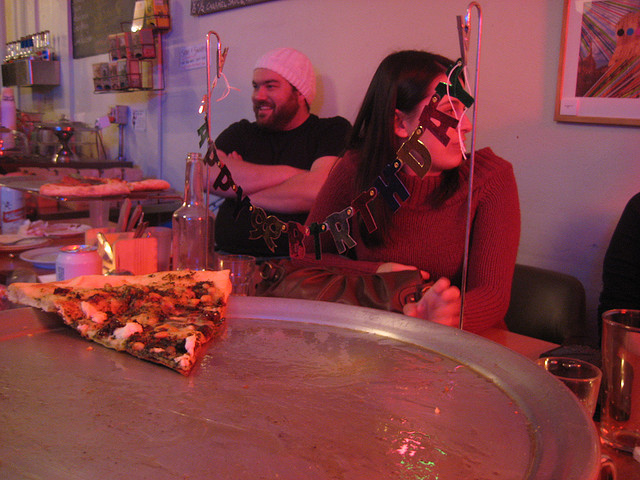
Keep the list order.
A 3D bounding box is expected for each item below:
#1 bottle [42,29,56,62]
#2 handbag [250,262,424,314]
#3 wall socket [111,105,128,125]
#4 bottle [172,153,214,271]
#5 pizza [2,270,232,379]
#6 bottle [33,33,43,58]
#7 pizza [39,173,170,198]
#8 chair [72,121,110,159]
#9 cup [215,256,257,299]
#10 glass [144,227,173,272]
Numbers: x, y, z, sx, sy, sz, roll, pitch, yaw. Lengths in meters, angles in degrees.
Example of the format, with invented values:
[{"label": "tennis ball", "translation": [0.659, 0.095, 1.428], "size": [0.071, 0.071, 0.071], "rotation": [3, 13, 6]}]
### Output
[{"label": "bottle", "translation": [-3.121, -2.222, 5.461], "size": [0.125, 0.376, 0.186], "rotation": [-5, 11, -35]}, {"label": "handbag", "translation": [0.062, 0.108, 1.199], "size": [0.289, 0.097, 0.178], "rotation": [4, 16, 14]}, {"label": "wall socket", "translation": [-1.839, -1.139, 4.374], "size": [0.160, 0.167, 0.088], "rotation": [4, 7, 33]}, {"label": "bottle", "translation": [-0.315, -0.054, 1.177], "size": [0.095, 0.322, 0.099], "rotation": [6, 18, -2]}, {"label": "pizza", "translation": [-0.344, 0.139, 0.876], "size": [0.231, 0.035, 0.240], "rotation": [5, 23, -7]}, {"label": "bottle", "translation": [-3.269, -2.226, 5.521], "size": [0.055, 0.267, 0.159], "rotation": [-7, 12, -43]}, {"label": "pizza", "translation": [-0.892, -0.212, 1.944], "size": [0.525, 0.067, 0.405], "rotation": [8, 11, 35]}, {"label": "chair", "translation": [-2.271, -0.994, 4.708], "size": [0.324, 0.403, 1.244], "rotation": [-3, 10, -26]}, {"label": "cup", "translation": [-0.188, 0.080, 1.122], "size": [0.085, 0.106, 0.089], "rotation": [-1, 8, 0]}, {"label": "glass", "translation": [-0.471, 0.014, 1.341], "size": [0.064, 0.093, 0.062], "rotation": [25, 5, 21]}]
